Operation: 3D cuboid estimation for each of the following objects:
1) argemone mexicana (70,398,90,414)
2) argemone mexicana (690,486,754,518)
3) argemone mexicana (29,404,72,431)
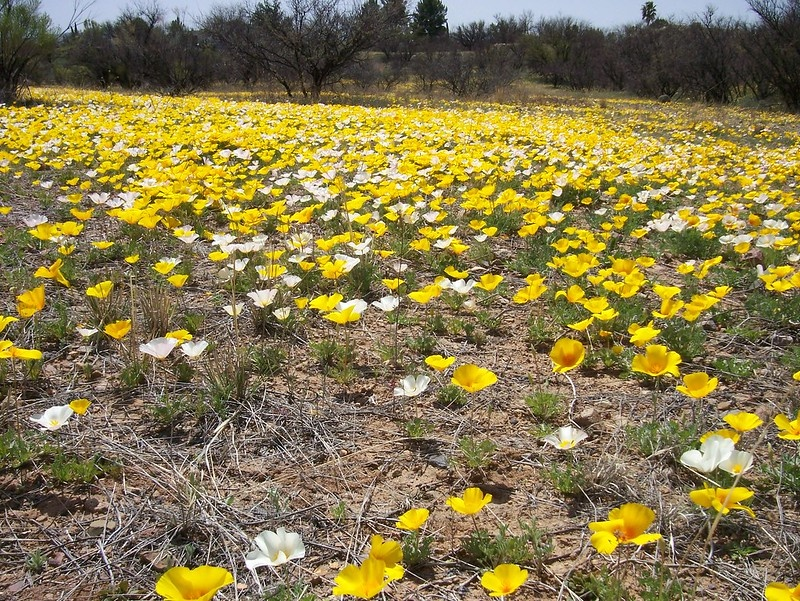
[{"bbox_3d":[-1.562,0.519,3.235,0.105,0.085,0.116,-3,-11,-13],"label":"argemone mexicana"},{"bbox_3d":[1.369,0.865,2.827,0.238,0.098,0.243,4,4,-7],"label":"argemone mexicana"},{"bbox_3d":[-1.652,0.554,3.135,0.140,0.120,0.152,11,18,32],"label":"argemone mexicana"}]
